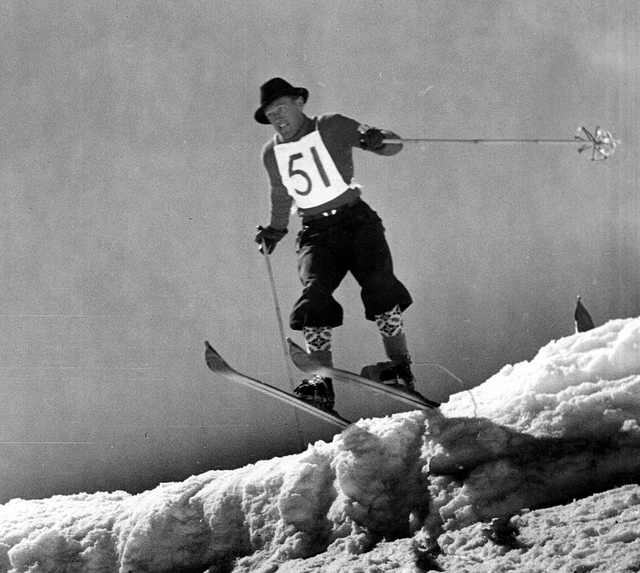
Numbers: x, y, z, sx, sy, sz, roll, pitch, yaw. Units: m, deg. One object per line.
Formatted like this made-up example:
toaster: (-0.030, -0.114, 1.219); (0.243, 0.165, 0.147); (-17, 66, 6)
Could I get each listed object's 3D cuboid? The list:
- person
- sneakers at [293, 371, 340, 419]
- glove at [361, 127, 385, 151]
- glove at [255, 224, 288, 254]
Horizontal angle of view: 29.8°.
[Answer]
person: (0.064, -0.268, 6.183); (0.848, 1.805, 0.623); (-18, -27, 14)
sneakers: (-0.021, 0.524, 6.043); (0.181, 0.196, 0.088); (-21, -18, -2)
glove: (0.269, -0.756, 6.134); (0.092, 0.131, 0.041); (2, 11, 7)
glove: (-0.263, -0.286, 6.522); (0.144, 0.157, 0.047); (-6, 21, -13)
